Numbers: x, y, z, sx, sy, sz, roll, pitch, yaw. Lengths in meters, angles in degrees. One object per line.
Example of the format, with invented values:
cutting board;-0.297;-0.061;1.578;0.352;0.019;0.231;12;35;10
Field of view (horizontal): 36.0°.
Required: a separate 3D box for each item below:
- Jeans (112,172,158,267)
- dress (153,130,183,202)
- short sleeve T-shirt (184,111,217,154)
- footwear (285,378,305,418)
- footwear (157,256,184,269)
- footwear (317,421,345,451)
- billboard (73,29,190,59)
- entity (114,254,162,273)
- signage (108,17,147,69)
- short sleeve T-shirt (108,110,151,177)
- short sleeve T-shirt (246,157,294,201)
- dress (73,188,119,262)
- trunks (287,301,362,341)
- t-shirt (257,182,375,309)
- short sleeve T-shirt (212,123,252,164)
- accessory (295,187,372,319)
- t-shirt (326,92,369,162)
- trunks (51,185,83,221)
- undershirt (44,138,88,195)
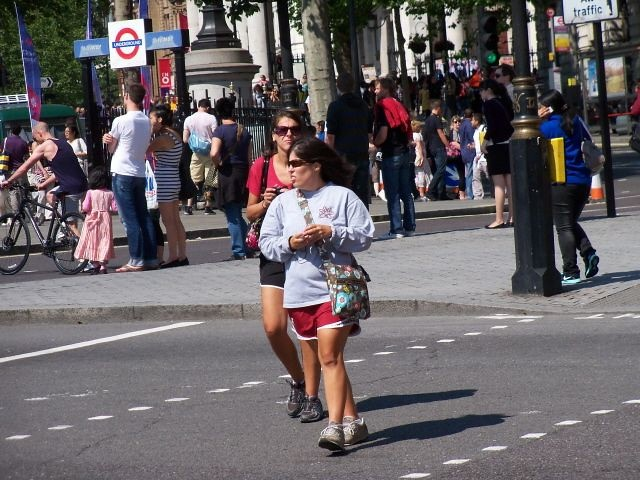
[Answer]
Jeans;-2.371;-0.250;13.718;0.511;1.349;0.292;-5;8;-13
dress;-1.948;-1.041;13.935;0.428;1.004;0.233;-7;9;-26
short sleeve T-shirt;-1.873;-1.844;16.977;0.567;0.693;0.358;-3;8;-12
footwear;-0.118;1.174;7.295;0.089;0.136;0.306;1;43;8
footwear;-1.954;0.332;14.253;0.373;0.150;0.138;-2;3;-2
footwear;0.114;1.282;6.347;0.158;0.196;0.094;-5;8;-14
billboard;-3.852;-4.070;20.735;0.404;0.616;2.995;3;14;36
entity;-2.360;0.347;13.886;0.611;0.259;0.202;2;-2;-23
signage;-3.526;-3.871;19.517;0.696;0.912;0.734;-4;8;-6
short sleeve T-shirt;-2.401;-1.301;13.598;0.591;0.910;0.306;-6;9;-19
short sleeve T-shirt;-0.382;-0.483;7.765;0.492;0.477;0.277;0;3;-7
dress;-2.949;-0.250;14.086;0.502;1.109;0.386;3;-7;-22
trunks;0.052;0.517;6.663;0.366;0.268;0.197;12;42;18
t-shirt;0.018;0.029;6.713;0.745;0.832;0.451;-4;-6;11
short sleeve T-shirt;-1.107;-1.333;13.970;0.596;0.568;0.313;-5;8;-23
accessory;0.174;0.153;6.566;0.357;0.825;0.435;-6;9;-18
t-shirt;0.524;-1.575;14.359;0.794;1.049;0.418;-6;5;-22
trunks;-3.452;-0.518;14.898;0.647;0.406;0.330;-2;-2;-8
undershirt;-3.613;-1.113;15.227;0.458;0.875;0.558;-12;-1;25
